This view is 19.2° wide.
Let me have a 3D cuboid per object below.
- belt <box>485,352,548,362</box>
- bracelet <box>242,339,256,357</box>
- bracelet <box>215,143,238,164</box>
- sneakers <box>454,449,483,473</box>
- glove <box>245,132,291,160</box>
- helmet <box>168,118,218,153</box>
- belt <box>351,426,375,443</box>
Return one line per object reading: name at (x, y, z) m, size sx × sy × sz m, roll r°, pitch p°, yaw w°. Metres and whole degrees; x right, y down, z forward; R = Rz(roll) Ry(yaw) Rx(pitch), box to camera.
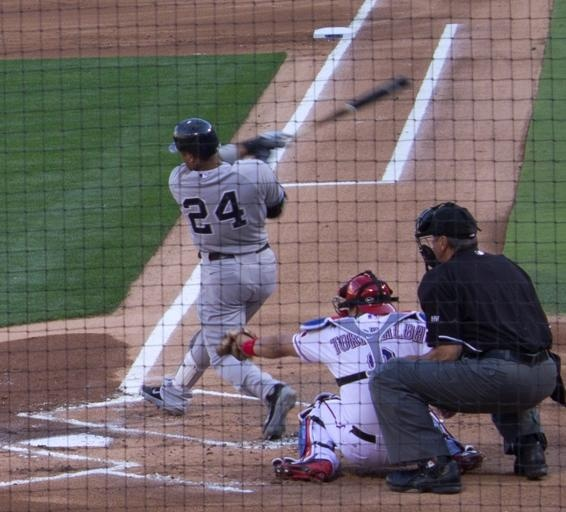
belt at (2.309, 0.995, 16.514) m, size 0.617 × 0.092 × 0.096 m, roll -2°, pitch -2°, yaw -9°
bracelet at (-0.333, 0.938, 17.093) m, size 0.190 × 0.147 × 0.177 m, roll 1°, pitch 6°, yaw -21°
bracelet at (-0.589, -1.098, 17.868) m, size 0.277 × 0.155 × 0.286 m, roll -5°, pitch 38°, yaw -2°
sneakers at (1.860, 2.036, 16.675) m, size 0.346 × 0.150 × 0.117 m, roll -17°, pitch 17°, yaw 8°
glove at (-0.146, -1.188, 18.218) m, size 0.525 × 0.274 × 0.184 m, roll -21°, pitch -20°, yaw -4°
helmet at (-0.928, -1.281, 17.671) m, size 0.506 × 0.207 × 0.328 m, roll 9°, pitch 38°, yaw 28°
belt at (0.821, 1.776, 16.645) m, size 0.216 × 0.058 × 0.142 m, roll 11°, pitch 3°, yaw 12°
